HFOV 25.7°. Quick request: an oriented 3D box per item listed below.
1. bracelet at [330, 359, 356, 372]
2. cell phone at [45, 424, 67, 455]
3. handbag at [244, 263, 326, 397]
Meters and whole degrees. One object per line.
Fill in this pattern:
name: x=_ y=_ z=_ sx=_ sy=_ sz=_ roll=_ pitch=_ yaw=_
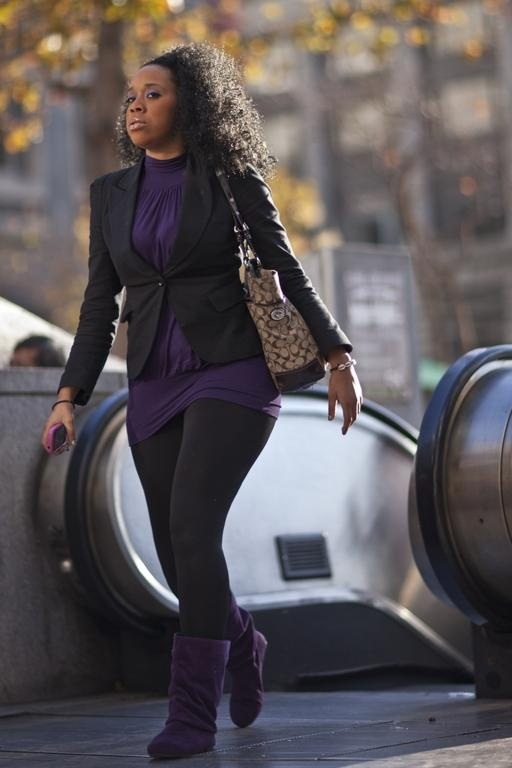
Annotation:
bracelet: x=0.217 y=-0.051 z=2.779 sx=0.045 sy=0.015 sz=0.046 roll=-18 pitch=0 yaw=44
cell phone: x=-0.523 y=0.135 z=2.896 sx=0.034 sy=0.064 sz=0.085 roll=8 pitch=20 yaw=27
handbag: x=0.068 y=-0.145 z=2.789 sx=0.142 sy=0.300 sz=0.224 roll=-16 pitch=32 yaw=1
